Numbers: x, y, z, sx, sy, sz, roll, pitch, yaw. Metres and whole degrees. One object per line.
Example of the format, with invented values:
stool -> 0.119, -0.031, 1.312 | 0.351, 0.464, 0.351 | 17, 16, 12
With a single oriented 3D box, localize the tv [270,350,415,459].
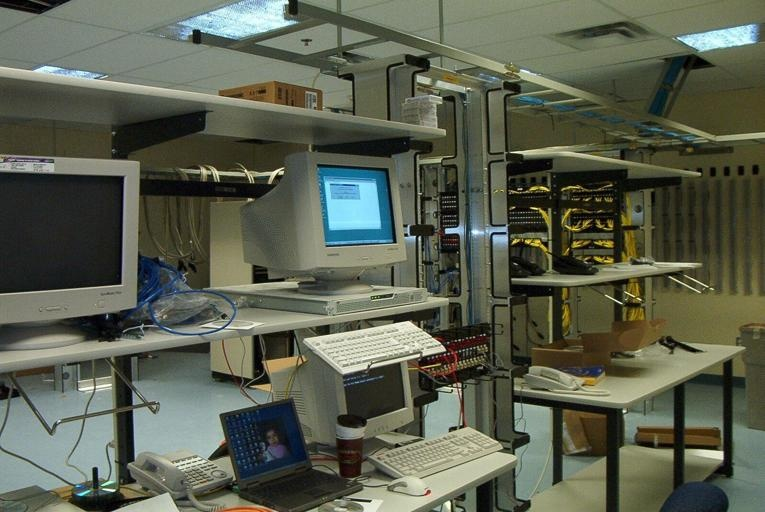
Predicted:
tv -> -0.131, 0.632, 2.909 | 0.625, 0.340, 0.603 | 0, 2, 37

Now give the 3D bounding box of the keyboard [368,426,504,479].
keyboard -> 0.259, 0.891, 2.781 | 0.606, 0.058, 0.226 | -4, 15, -36

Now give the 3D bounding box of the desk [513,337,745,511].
desk -> 1.696, 1.187, 4.234 | 0.801, 0.594, 1.625 | -1, 1, 39

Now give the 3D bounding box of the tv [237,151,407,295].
tv -> -0.285, -0.155, 2.962 | 0.795, 0.460, 0.670 | -9, 6, -20

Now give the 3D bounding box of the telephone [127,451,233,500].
telephone -> -0.854, 0.902, 2.573 | 0.357, 0.115, 0.302 | 5, 2, 44

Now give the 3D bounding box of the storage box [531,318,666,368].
storage box -> 1.438, 0.584, 4.046 | 0.808, 0.183, 0.565 | -8, -1, 24

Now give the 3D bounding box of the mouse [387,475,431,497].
mouse -> 0.114, 0.933, 2.488 | 0.142, 0.037, 0.076 | 2, -2, 23

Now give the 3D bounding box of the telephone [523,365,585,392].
telephone -> 0.997, 0.719, 3.594 | 0.241, 0.065, 0.172 | -2, -1, 35
